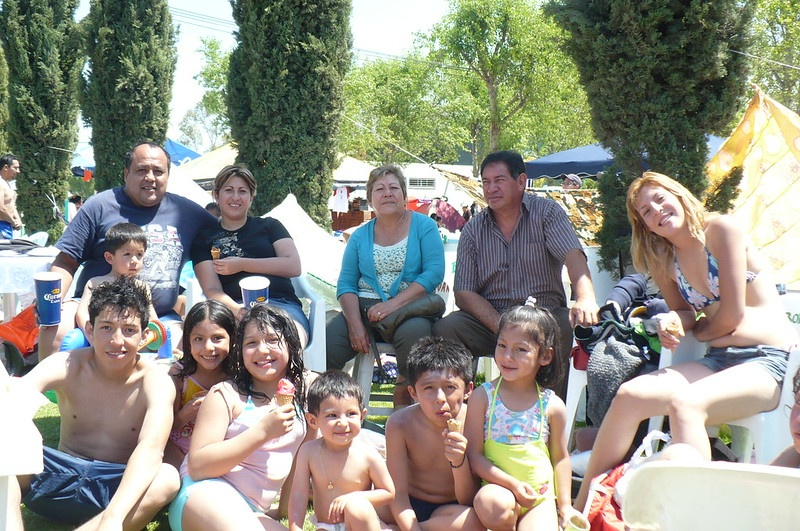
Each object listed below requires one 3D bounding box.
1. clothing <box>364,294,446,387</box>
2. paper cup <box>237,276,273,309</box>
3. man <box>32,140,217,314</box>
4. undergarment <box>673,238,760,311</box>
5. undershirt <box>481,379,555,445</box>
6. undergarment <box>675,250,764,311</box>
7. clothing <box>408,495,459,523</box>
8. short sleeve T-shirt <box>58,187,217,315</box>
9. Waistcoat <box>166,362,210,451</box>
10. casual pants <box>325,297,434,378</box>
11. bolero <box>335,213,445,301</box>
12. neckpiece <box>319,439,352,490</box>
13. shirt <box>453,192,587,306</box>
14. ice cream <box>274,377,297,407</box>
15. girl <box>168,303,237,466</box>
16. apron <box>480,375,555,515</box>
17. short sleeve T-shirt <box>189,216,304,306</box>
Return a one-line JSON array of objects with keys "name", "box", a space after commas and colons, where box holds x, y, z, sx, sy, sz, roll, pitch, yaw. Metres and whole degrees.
[{"name": "clothing", "box": [0.007, 0.642, 5.563, 0.636, 0.656, 0.270, -15, 5, -41]}, {"name": "paper cup", "box": [-1.069, 0.204, 4.934, 0.186, 0.210, 0.222, -6, 6, -38]}, {"name": "man", "box": [-2.248, -0.310, 5.667, 1.764, 1.714, 1.125, 4, -2, -31]}, {"name": "undergarment", "box": [2.090, 0.060, 4.392, 0.286, 0.374, 0.200, -44, -12, 33]}, {"name": "undershirt", "box": [0.723, 0.957, 4.161, 0.513, 0.495, 0.305, 3, -2, 12]}, {"name": "undergarment", "box": [2.113, 0.100, 4.387, 0.239, 0.313, 0.169, -42, -7, 37]}, {"name": "clothing", "box": [0.156, 1.490, 4.080, 0.204, 0.076, 0.150, -3, -2, 2]}, {"name": "short sleeve T-shirt", "box": [-2.095, -0.123, 5.487, 1.306, 0.987, 0.573, 2, 12, -39]}, {"name": "Waistcoat", "box": [-1.453, 0.952, 4.435, 0.236, 0.377, 0.269, -3, 1, -33]}, {"name": "casual pants", "box": [-0.176, 0.594, 5.504, 0.554, 0.542, 0.552, 13, -5, -33]}, {"name": "bolero", "box": [-0.089, -0.069, 5.875, 0.878, 0.856, 0.482, 0, -8, 7]}, {"name": "neckpiece", "box": [-0.380, 1.198, 3.946, 0.147, 0.311, 0.075, 0, 2, 1]}, {"name": "shirt", "box": [0.966, -0.086, 5.518, 1.092, 0.943, 0.540, -10, -5, 22]}, {"name": "ice cream", "box": [-0.695, 0.776, 4.028, 0.143, 0.219, 0.135, -1, -10, -3]}, {"name": "girl", "box": [-1.291, 0.801, 4.466, 0.462, 1.118, 0.459, 4, 13, -18]}, {"name": "apron", "box": [0.726, 1.118, 4.158, 0.487, 0.785, 0.407, -2, -12, 27]}, {"name": "short sleeve T-shirt", "box": [-1.340, 0.029, 5.633, 0.887, 0.899, 0.471, -4, -1, -28]}]
